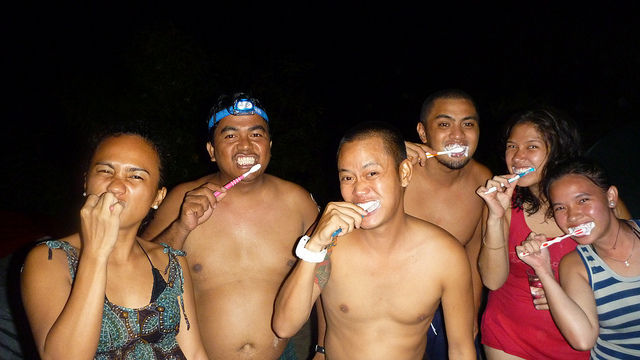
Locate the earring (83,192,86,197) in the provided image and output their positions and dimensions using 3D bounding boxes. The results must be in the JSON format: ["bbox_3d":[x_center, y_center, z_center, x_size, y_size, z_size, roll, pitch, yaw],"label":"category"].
[{"bbox_3d":[-2.934,0.176,6.373,0.047,0.043,0.012,-1,2,37],"label":"earring"}]

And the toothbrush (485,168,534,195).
[{"bbox_3d":[2.755,0.041,7.376,0.831,0.066,0.098,-23,-39,3],"label":"toothbrush"}]

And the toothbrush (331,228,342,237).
[{"bbox_3d":[0.217,0.666,6.519,0.049,0.045,0.175,-24,-17,-46],"label":"toothbrush"}]
